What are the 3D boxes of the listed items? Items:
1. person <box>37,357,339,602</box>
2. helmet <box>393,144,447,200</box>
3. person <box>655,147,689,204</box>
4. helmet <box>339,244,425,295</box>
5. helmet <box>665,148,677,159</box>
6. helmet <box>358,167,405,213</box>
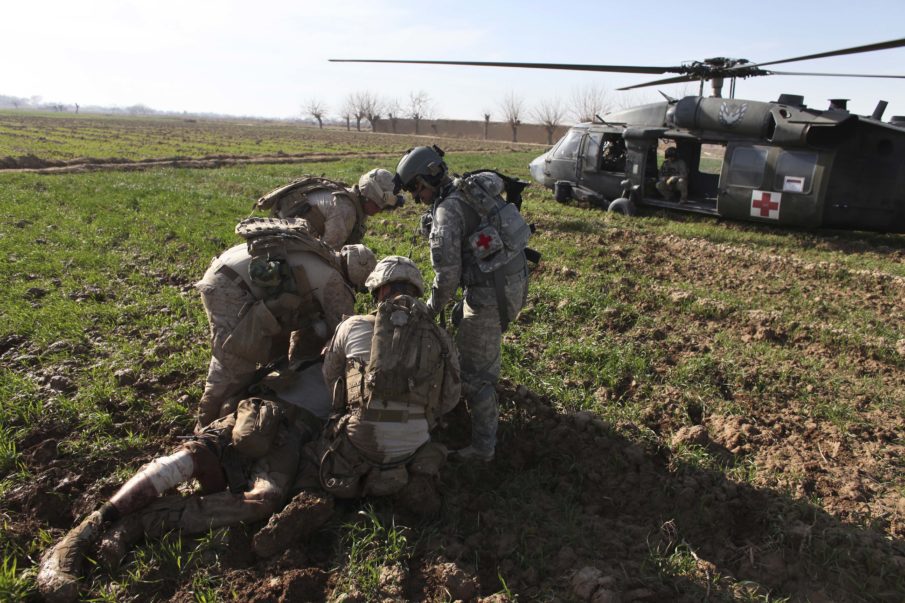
[{"bbox_3d":[-1.939,1.595,4.950,1.056,0.731,2.199,34,50,29],"label":"person"},{"bbox_3d":[-0.309,-1.240,6.079,0.576,0.498,0.479,-19,15,-33],"label":"helmet"},{"bbox_3d":[4.955,-2.808,13.958,0.695,1.155,0.677,-22,22,-36],"label":"person"},{"bbox_3d":[-0.654,-0.277,5.400,0.651,0.268,0.453,14,11,25],"label":"helmet"},{"bbox_3d":[4.967,-3.328,14.127,0.243,0.261,0.337,6,29,16],"label":"helmet"},{"bbox_3d":[-0.753,-1.143,6.574,0.534,0.446,0.407,6,20,-18],"label":"helmet"}]
